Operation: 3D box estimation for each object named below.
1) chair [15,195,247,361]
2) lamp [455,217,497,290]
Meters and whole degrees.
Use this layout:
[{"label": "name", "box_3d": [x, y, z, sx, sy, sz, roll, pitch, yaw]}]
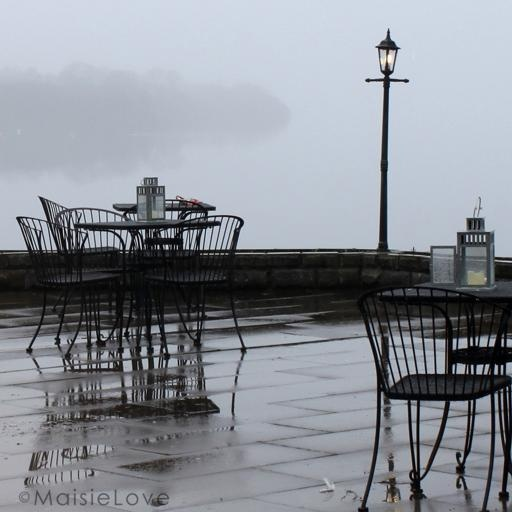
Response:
[{"label": "chair", "box_3d": [-0.915, 0.065, 8.247, 1.458, 0.960, 1.490, 0, -1, -4]}, {"label": "lamp", "box_3d": [0.965, -0.013, 4.915, 0.186, 0.311, 0.165, -5, -4, 5]}]
